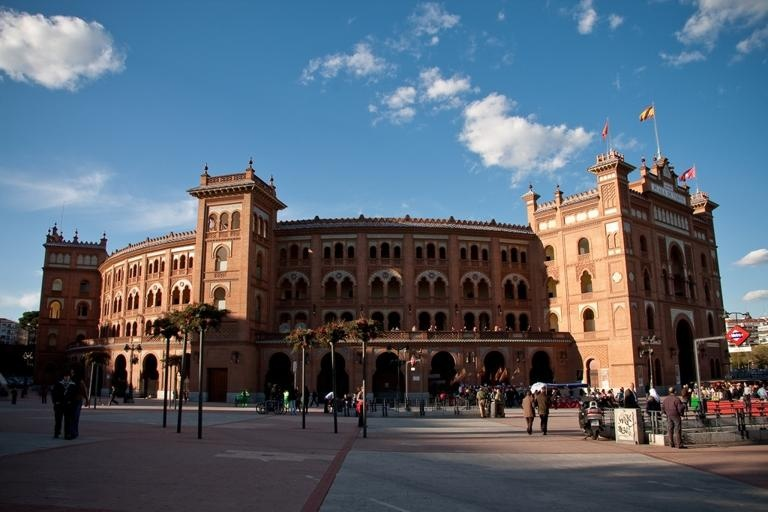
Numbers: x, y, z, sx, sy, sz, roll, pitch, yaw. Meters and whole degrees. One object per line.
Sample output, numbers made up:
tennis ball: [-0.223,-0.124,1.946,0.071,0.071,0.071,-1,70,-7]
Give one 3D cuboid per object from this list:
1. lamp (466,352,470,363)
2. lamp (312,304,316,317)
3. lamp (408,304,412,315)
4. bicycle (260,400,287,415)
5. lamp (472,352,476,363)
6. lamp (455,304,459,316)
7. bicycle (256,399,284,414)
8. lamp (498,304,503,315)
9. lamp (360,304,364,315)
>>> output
lamp: [7.884,9.630,55.767,0.599,1.000,0.248,0,-6,2]
lamp: [-7.008,5.402,59.466,0.469,1.062,0.157,2,-8,-11]
lamp: [2.668,5.336,59.577,0.471,0.914,0.153,4,-9,-23]
bicycle: [-7.999,10.823,42.285,1.925,1.059,0.925,-2,-20,5]
lamp: [8.557,9.622,56.028,0.422,0.914,0.106,5,-9,-27]
lamp: [7.487,5.428,60.177,0.632,1.157,0.206,5,-9,-25]
bicycle: [-8.346,10.819,42.403,2.044,1.106,0.995,-10,-22,22]
lamp: [12.106,5.617,61.454,0.625,0.833,0.257,-2,-2,-9]
lamp: [-2.146,5.302,59.204,0.462,1.062,0.314,3,-8,-12]
